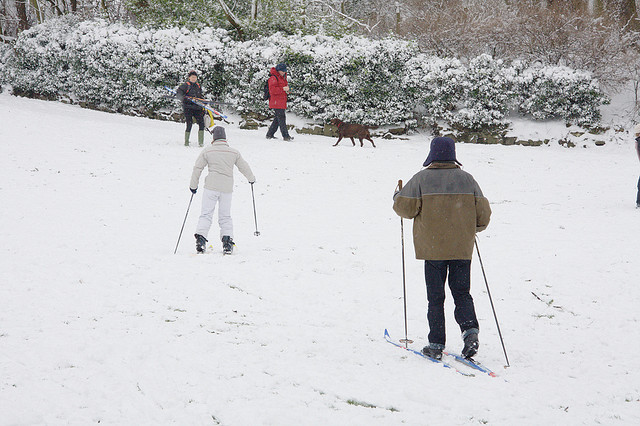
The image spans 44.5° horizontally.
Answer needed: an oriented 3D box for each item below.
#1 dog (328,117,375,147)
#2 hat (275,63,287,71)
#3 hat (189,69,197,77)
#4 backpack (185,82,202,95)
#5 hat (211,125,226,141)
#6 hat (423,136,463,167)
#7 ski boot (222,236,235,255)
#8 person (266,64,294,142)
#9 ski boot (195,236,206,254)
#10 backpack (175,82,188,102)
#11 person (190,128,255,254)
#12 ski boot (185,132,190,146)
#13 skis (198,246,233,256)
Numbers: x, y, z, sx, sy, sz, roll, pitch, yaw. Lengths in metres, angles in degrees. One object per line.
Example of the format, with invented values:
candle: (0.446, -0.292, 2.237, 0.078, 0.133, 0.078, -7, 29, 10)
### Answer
dog: (1.113, -2.772, 26.713, 1.210, 0.802, 1.596, 2, 11, -1)
hat: (-1.263, -4.750, 25.508, 0.384, 0.229, 0.399, 1, 11, -11)
hat: (-4.002, -4.403, 24.746, 0.235, 0.202, 0.426, 0, 12, -15)
backpack: (-4.013, -3.925, 24.646, 0.249, 0.357, 0.362, 3, -28, 4)
hat: (-2.508, -2.022, 19.507, 0.317, 0.312, 0.263, 4, 11, 14)
hat: (2.597, -1.320, 16.609, 0.985, 0.572, 0.620, 5, 15, -2)
ski boot: (-2.240, 0.769, 19.127, 0.174, 0.532, 0.264, 2, 45, -2)
person: (-1.331, -3.638, 25.864, 0.782, 2.520, 0.968, 1, 10, -4)
ski boot: (-2.906, 0.784, 19.143, 0.254, 0.366, 0.369, -1, -5, -3)
backpack: (-4.340, -3.773, 24.460, 0.224, 0.525, 0.406, 30, 23, 10)
person: (-2.492, -0.564, 19.295, 1.365, 2.991, 0.938, 0, 10, -10)
ski boot: (-4.238, -2.365, 24.980, 0.113, 0.441, 0.269, -1, 11, -19)
skis: (-2.569, 0.915, 19.117, 0.820, 0.159, 0.200, 3, 11, 1)
